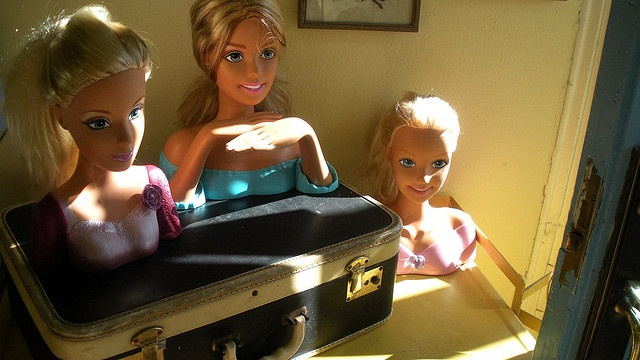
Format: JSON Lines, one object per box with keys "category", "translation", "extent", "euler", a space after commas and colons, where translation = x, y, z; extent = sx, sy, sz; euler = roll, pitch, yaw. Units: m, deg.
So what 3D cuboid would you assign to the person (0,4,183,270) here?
{"category": "person", "translation": [-0.780, -0.130, 1.545], "extent": [0.520, 0.861, 0.247], "euler": [-7, 14, -14]}
